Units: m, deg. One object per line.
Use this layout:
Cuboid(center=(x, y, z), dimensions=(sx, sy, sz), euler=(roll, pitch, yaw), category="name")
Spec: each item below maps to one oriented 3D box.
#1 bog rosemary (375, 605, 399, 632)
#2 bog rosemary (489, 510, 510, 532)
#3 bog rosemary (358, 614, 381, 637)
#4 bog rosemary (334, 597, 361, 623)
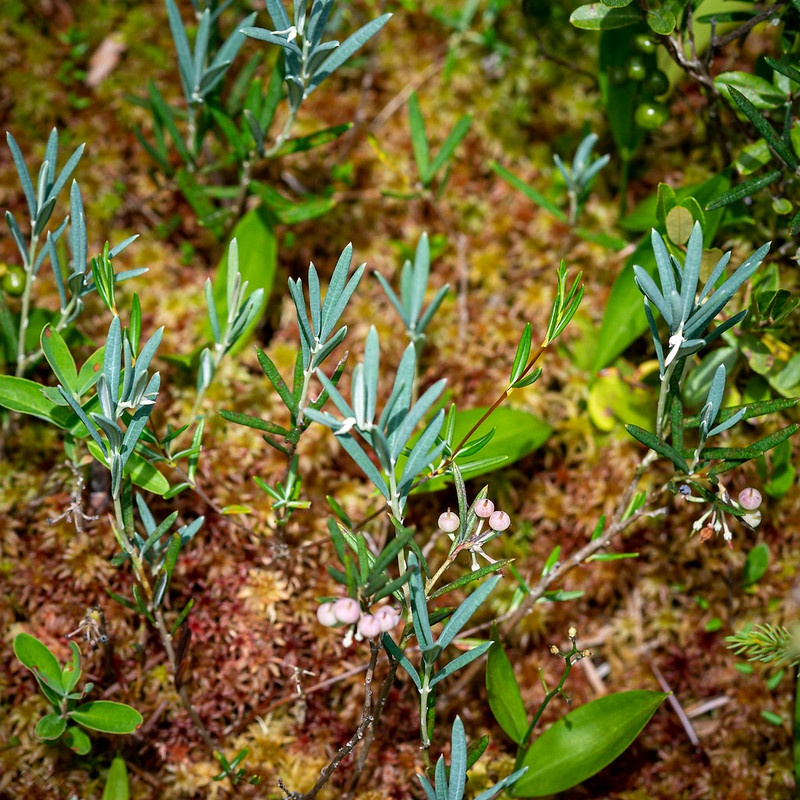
Cuboid(center=(-0.013, 0.220, 0.831), dimensions=(0.017, 0.030, 0.011), euler=(1, 105, 1), category="bog rosemary")
Cuboid(center=(0.115, 0.133, 0.935), dimensions=(0.025, 0.014, 0.025), euler=(-6, 96, 2), category="bog rosemary")
Cuboid(center=(-0.030, 0.224, 0.823), dimensions=(0.017, 0.023, 0.017), euler=(-32, 88, -3), category="bog rosemary")
Cuboid(center=(-0.052, 0.210, 0.824), dimensions=(0.016, 0.021, 0.016), euler=(31, 57, 12), category="bog rosemary")
